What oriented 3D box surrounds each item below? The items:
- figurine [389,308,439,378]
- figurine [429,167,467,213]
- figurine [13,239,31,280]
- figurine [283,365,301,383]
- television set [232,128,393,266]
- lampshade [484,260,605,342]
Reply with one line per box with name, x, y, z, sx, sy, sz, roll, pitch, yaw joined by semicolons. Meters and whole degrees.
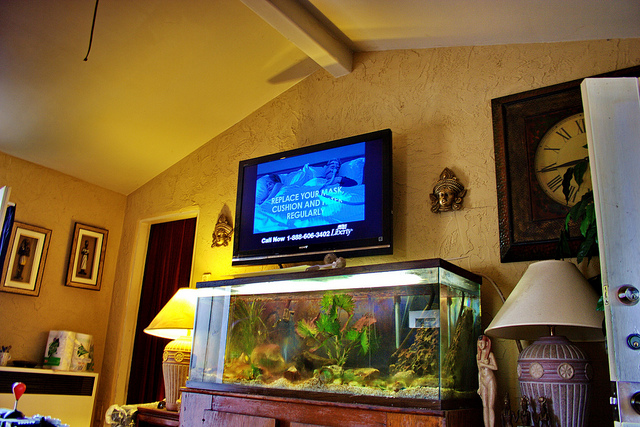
figurine;0.506;0.697;2.384;0.273;0.347;0.086;-4;-19;15
figurine;0.880;-0.153;3.106;0.172;0.296;0.219;4;-10;-19
figurine;-2.752;0.419;4.081;0.100;0.366;0.050;14;-23;-36
figurine;-0.172;0.964;2.647;0.081;0.069;0.097;2;-14;11
television set;-0.085;-0.086;3.425;1.368;0.905;0.139;-8;-20;25
lampshade;1.243;0.448;2.491;0.560;0.520;0.563;-1;-8;44
